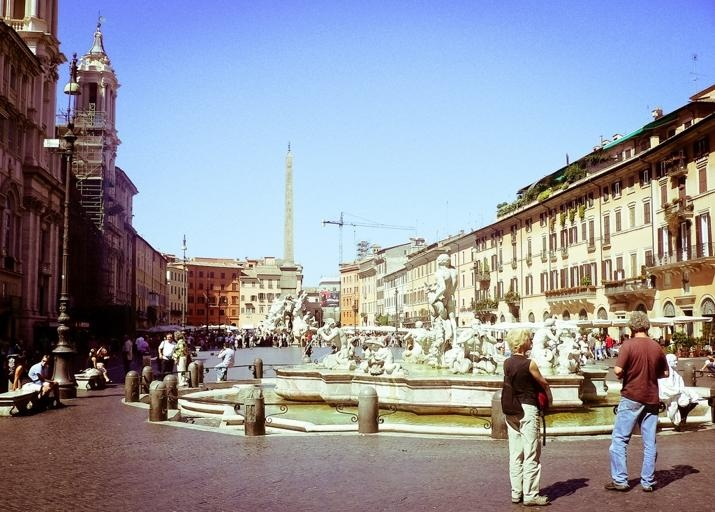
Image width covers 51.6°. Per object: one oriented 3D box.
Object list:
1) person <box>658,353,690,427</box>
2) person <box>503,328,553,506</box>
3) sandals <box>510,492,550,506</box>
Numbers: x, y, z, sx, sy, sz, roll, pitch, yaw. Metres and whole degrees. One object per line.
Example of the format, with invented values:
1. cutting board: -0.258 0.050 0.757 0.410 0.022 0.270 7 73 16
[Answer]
1. person: 6.856 2.897 15.907 0.547 1.478 0.724 -6 -10 37
2. person: 2.462 2.335 10.781 0.643 2.516 0.314 0 -8 10
3. sandals: 2.507 3.499 10.641 0.494 0.220 0.199 -3 -6 0
